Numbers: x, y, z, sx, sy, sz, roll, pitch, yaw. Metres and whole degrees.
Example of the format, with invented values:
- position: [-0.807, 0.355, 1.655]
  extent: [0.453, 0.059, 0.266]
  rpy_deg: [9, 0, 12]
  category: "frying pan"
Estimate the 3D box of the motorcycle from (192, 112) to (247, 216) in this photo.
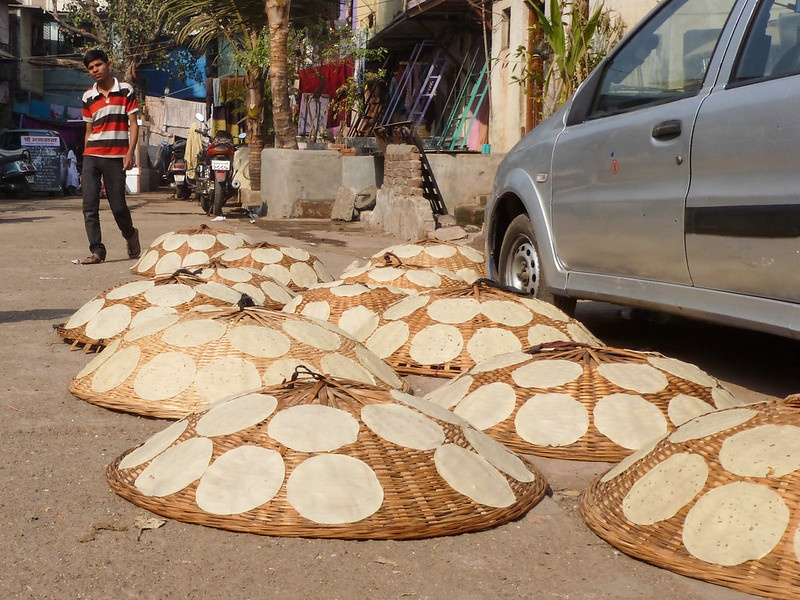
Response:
- position: [-4.612, -2.930, 14.925]
  extent: [1.461, 2.167, 3.747]
  rpy_deg: [5, 0, -17]
  category: "motorcycle"

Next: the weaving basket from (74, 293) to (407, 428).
- position: [-0.898, 0.212, 3.129]
  extent: [1.641, 0.370, 1.476]
  rpy_deg: [2, 12, -6]
  category: "weaving basket"

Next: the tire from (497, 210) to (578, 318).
- position: [1.110, -0.209, 4.629]
  extent: [0.396, 0.903, 1.018]
  rpy_deg: [-2, -5, -9]
  category: "tire"

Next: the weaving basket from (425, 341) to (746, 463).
- position: [0.705, 0.438, 2.547]
  extent: [0.747, 0.163, 0.791]
  rpy_deg: [6, 8, 42]
  category: "weaving basket"
